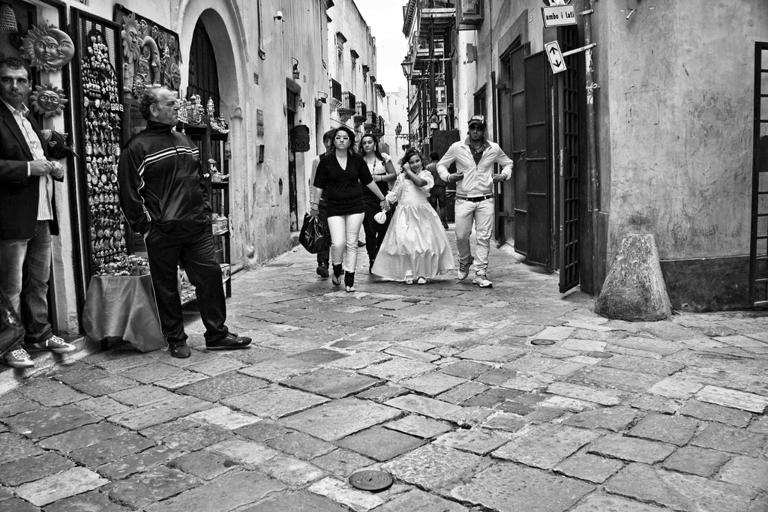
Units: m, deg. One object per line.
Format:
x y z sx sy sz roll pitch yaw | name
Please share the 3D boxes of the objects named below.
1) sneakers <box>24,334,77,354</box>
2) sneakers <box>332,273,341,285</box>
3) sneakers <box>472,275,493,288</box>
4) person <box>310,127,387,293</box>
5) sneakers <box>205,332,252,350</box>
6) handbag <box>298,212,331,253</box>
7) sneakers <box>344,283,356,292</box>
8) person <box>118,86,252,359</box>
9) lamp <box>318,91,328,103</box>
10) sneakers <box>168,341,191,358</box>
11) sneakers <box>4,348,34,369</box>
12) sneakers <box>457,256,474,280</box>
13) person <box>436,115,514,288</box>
-2.775 0.746 4.783 0.347 0.152 0.140 1 4 -16 | sneakers
-0.685 0.332 8.236 0.138 0.175 0.396 1 -2 -6 | sneakers
1.335 0.349 7.874 0.114 0.146 0.321 -1 1 -21 | sneakers
-0.579 -0.668 7.911 0.673 2.186 0.729 3 9 25 | person
-1.395 0.791 5.209 0.411 0.191 0.160 -1 3 -5 | sneakers
-0.972 -0.368 7.976 0.241 0.556 0.530 -11 29 -29 | handbag
-0.468 0.421 7.704 0.102 0.137 0.311 -1 0 -5 | sneakers
-1.843 -0.308 5.069 0.866 2.342 0.499 -4 9 -24 | person
-1.997 -5.147 18.537 0.238 0.375 0.405 17 33 26 | lamp
-1.785 0.822 5.031 0.142 0.107 0.225 -7 11 -37 | sneakers
-2.823 0.800 4.442 0.138 0.170 0.197 7 12 42 | sneakers
1.155 0.165 8.341 0.142 0.444 0.179 13 9 24 | sneakers
1.273 -0.801 8.071 1.015 2.338 0.954 0 2 2 | person
